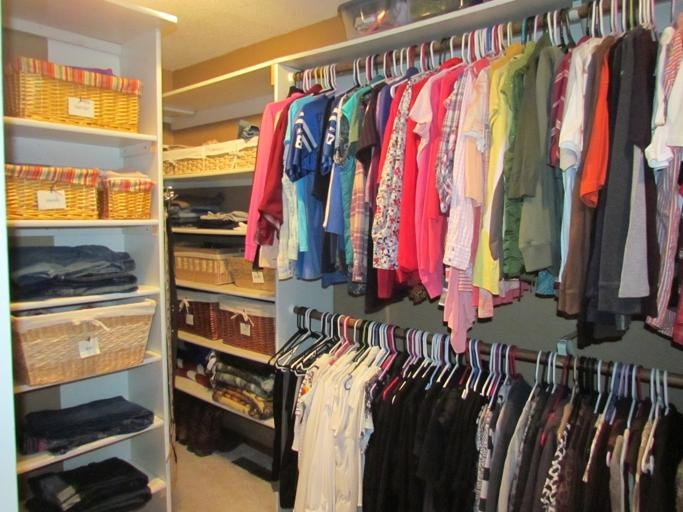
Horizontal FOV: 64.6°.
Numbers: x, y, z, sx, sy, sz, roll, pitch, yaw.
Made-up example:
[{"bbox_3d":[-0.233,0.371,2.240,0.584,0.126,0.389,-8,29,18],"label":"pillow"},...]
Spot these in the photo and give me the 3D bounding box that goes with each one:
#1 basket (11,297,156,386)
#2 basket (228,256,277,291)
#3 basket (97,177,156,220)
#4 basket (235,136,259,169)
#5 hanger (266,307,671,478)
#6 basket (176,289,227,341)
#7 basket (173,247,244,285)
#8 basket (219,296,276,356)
[{"bbox_3d":[-1.131,0.339,2.367,0.431,0.229,0.352,-2,2,-42],"label":"basket"},{"bbox_3d":[-0.525,0.099,3.159,0.189,0.115,0.260,1,0,30],"label":"basket"},{"bbox_3d":[-0.997,-0.266,2.485,0.194,0.202,0.225,0,4,-32],"label":"basket"},{"bbox_3d":[-0.533,-0.565,3.079,0.182,0.184,0.056,2,2,28],"label":"basket"},{"bbox_3d":[0.483,0.563,2.512,1.809,0.611,0.419,-1,3,24],"label":"hanger"},{"bbox_3d":[-0.916,0.367,3.659,0.469,0.310,0.304,3,6,41],"label":"basket"},{"bbox_3d":[-0.870,0.014,3.460,0.300,0.128,0.303,3,4,41],"label":"basket"},{"bbox_3d":[-0.642,0.449,3.247,0.252,0.271,0.417,-21,-27,37],"label":"basket"}]
